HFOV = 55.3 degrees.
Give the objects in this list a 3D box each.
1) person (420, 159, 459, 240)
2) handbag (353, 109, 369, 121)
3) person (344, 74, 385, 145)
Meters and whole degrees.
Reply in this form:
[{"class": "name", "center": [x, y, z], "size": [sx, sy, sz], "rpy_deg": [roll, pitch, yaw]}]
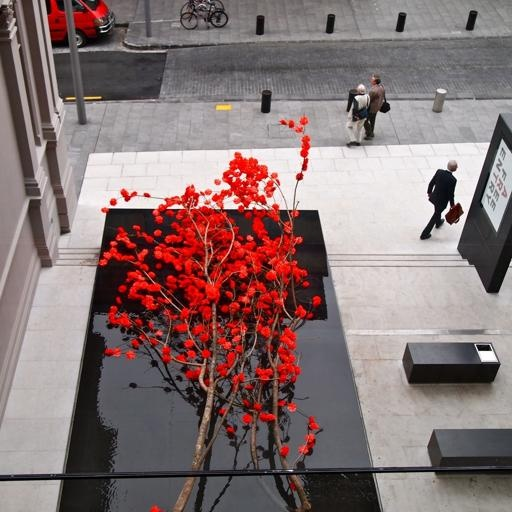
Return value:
[{"class": "person", "center": [3.048, -0.940, 8.071], "size": [0.457, 1.333, 0.632], "rpy_deg": [10, 32, 19]}, {"class": "handbag", "center": [2.103, -2.821, 9.816], "size": [0.276, 0.099, 0.209], "rpy_deg": [-19, 52, -25]}, {"class": "person", "center": [2.317, -3.069, 10.296], "size": [0.743, 1.359, 1.362], "rpy_deg": [5, 30, 10]}]
